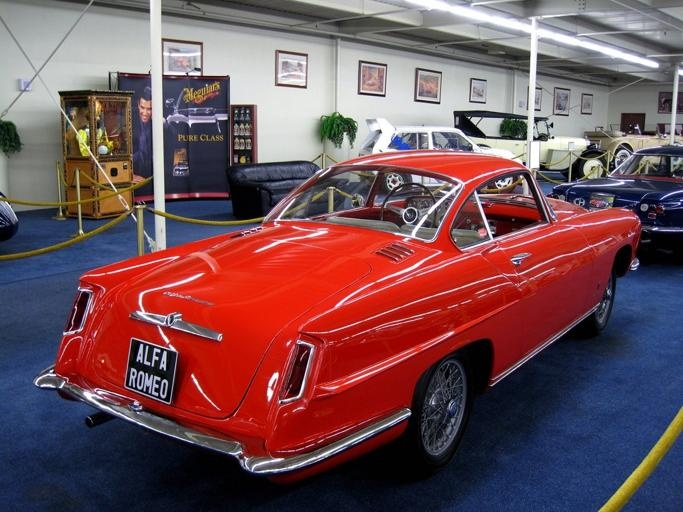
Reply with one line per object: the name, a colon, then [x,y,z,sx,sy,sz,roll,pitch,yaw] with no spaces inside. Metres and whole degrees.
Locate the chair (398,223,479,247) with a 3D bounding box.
chair: [0.614,-0.122,2.378,0.303,0.105,0.206,-12,13,-42]

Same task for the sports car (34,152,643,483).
sports car: [0.618,0.001,2.803,1.618,1.178,3.870,14,22,37]

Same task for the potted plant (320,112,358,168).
potted plant: [0.021,-4.154,14.883,1.071,1.131,1.073,23,5,36]
